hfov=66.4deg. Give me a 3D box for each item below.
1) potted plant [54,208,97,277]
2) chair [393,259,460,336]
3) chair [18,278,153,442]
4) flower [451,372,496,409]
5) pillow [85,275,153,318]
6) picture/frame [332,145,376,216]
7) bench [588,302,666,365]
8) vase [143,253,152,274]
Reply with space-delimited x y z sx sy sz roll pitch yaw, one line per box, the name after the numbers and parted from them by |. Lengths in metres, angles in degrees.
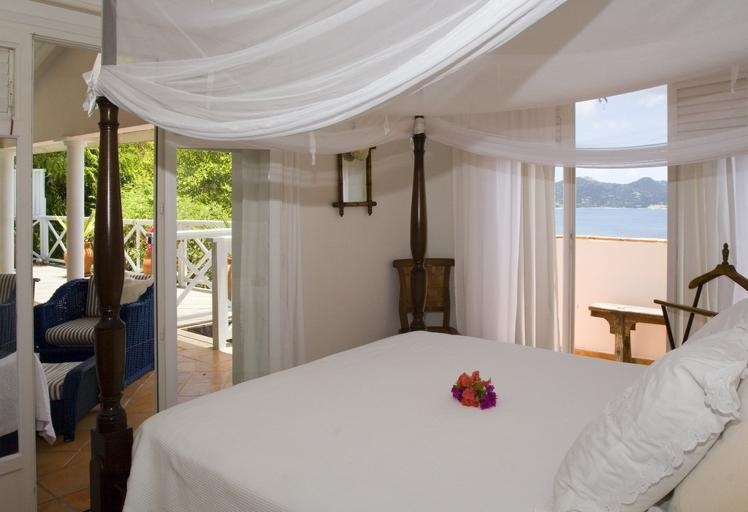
-4.818 -0.194 9.397 0.663 0.995 0.563 -2 1 7 | potted plant
0.347 0.364 5.308 0.558 0.896 0.619 0 -3 -3 | chair
-2.507 0.705 5.169 1.001 1.212 1.082 -2 0 -33 | chair
0.515 0.664 2.884 0.232 0.141 0.254 7 -10 25 | flower
-2.394 0.365 5.289 0.614 0.475 0.236 0 -15 3 | pillow
-0.151 -0.677 4.862 0.415 0.062 0.759 -1 -41 -1 | picture/frame
2.141 0.655 4.832 0.567 0.537 0.201 6 22 32 | bench
-3.315 0.104 8.316 0.093 0.250 0.535 -2 3 -25 | vase
